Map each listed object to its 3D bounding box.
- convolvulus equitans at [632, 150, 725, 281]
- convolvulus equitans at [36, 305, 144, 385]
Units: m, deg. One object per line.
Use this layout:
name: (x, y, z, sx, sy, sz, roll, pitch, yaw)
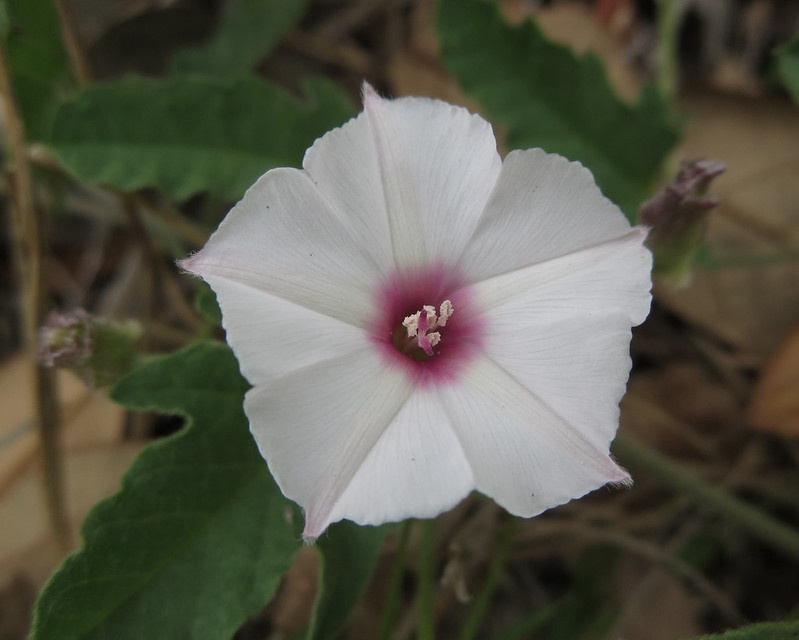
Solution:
convolvulus equitans: (1.288, -0.490, 4.029, 0.219, 0.223, 0.668, -11, -13, 4)
convolvulus equitans: (-1.266, 0.122, 3.545, 0.410, 0.350, 0.256, -11, -10, -25)
